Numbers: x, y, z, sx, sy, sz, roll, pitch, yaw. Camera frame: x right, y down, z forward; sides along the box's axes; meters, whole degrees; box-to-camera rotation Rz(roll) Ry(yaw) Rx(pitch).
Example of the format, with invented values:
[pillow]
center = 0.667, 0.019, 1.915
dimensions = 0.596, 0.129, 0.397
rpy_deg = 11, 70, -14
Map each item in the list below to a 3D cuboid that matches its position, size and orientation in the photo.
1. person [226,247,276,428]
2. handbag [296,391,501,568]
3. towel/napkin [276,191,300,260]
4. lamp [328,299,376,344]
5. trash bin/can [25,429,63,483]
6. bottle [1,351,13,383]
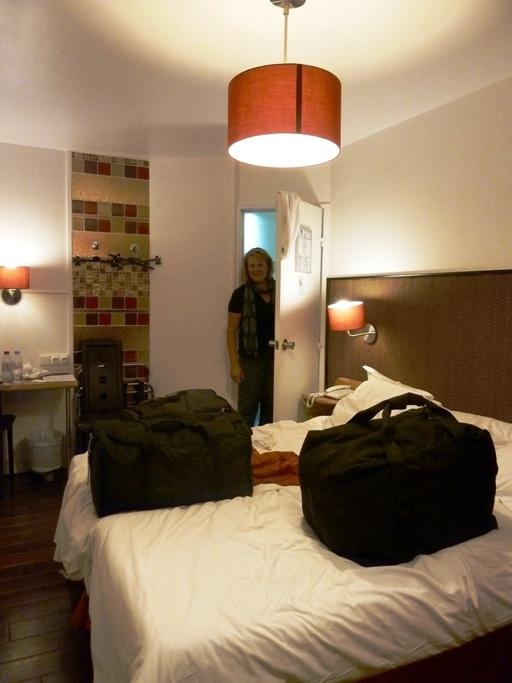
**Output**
[person]
center = 0.031, 0.119, 3.663
dimensions = 0.409, 1.485, 0.390
rpy_deg = -2, 29, -2
[handbag]
center = 0.358, 0.374, 1.546
dimensions = 0.467, 0.400, 0.438
rpy_deg = -4, -6, -21
[towel/napkin]
center = 0.193, -0.720, 3.317
dimensions = 0.105, 0.463, 0.400
rpy_deg = 3, 10, 23
[lamp]
center = 0.552, -0.131, 3.381
dimensions = 0.280, 0.321, 0.252
rpy_deg = -5, 5, -14
[trash bin/can]
center = -1.379, 0.734, 3.532
dimensions = 0.263, 0.317, 0.299
rpy_deg = 1, 9, -8
[bottle]
center = -1.574, 0.166, 3.381
dimensions = 0.071, 0.157, 0.185
rpy_deg = -4, 11, -26
